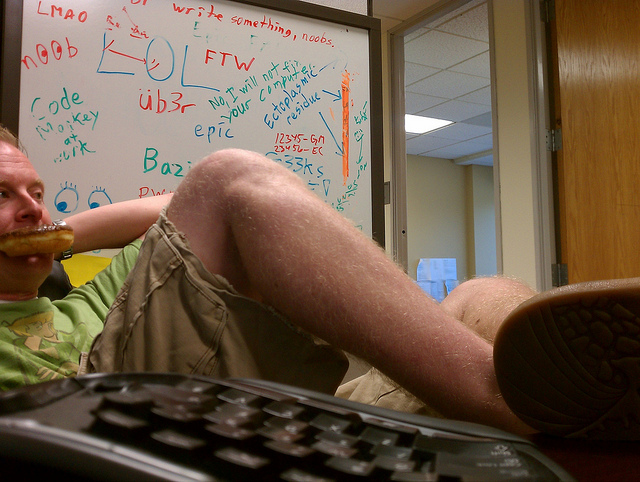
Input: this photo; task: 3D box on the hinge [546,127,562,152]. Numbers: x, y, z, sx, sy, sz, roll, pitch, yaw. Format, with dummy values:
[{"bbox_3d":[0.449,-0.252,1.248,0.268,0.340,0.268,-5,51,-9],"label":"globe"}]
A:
[{"bbox_3d":[1.142,-0.497,2.517,0.020,0.094,0.089,1,0,-40],"label":"hinge"}]
